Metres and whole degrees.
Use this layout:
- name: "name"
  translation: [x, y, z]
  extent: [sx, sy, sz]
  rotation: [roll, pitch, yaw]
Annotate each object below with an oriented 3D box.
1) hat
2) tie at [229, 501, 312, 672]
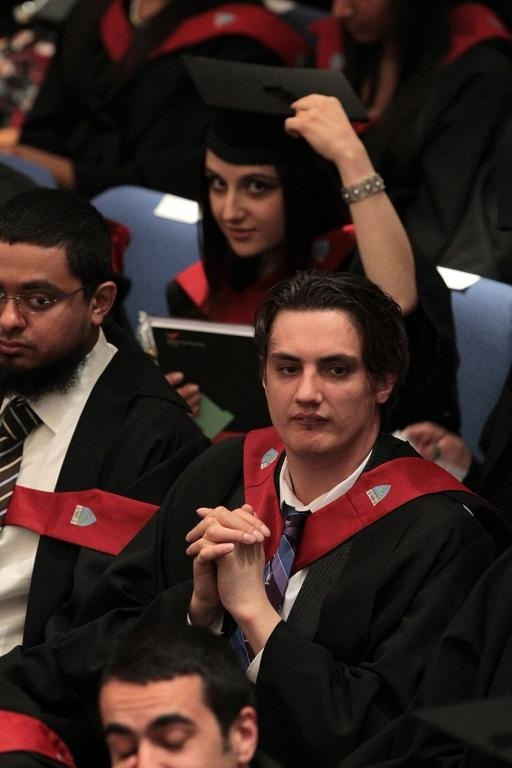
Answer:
- name: "hat"
  translation: [0.056, -1.210, 2.934]
  extent: [0.836, 0.380, 0.535]
  rotation: [1, 33, 10]
- name: "tie"
  translation: [0.052, 0.523, 1.791]
  extent: [0.089, 0.329, 0.206]
  rotation: [14, -10, -35]
